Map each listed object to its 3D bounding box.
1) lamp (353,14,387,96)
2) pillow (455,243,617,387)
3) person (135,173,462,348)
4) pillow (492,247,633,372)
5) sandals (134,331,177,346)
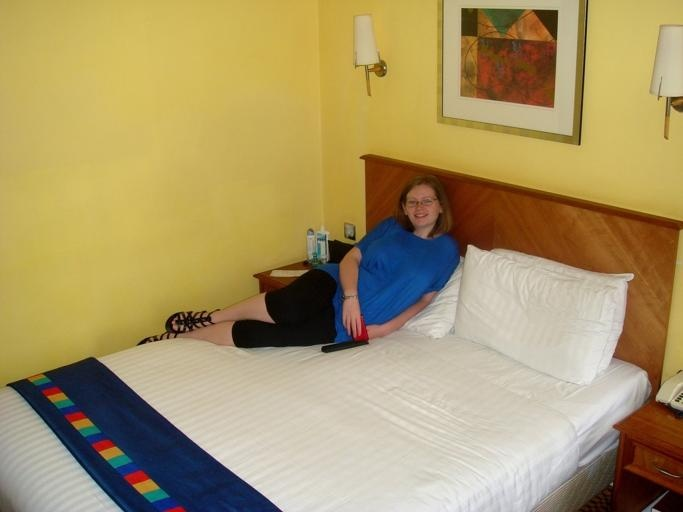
[{"bbox_3d":[0.205,-1.342,3.551,0.189,0.485,0.488,-2,17,9],"label":"lamp"},{"bbox_3d":[1.047,0.332,2.761,0.228,0.377,0.612,-14,25,-41],"label":"pillow"},{"bbox_3d":[-0.207,0.129,3.213,1.985,0.902,0.735,-11,31,-9],"label":"person"},{"bbox_3d":[1.164,0.303,2.722,0.505,0.380,0.230,22,41,39],"label":"pillow"},{"bbox_3d":[-1.210,0.534,3.399,0.128,0.034,0.126,-11,9,30],"label":"sandals"}]
